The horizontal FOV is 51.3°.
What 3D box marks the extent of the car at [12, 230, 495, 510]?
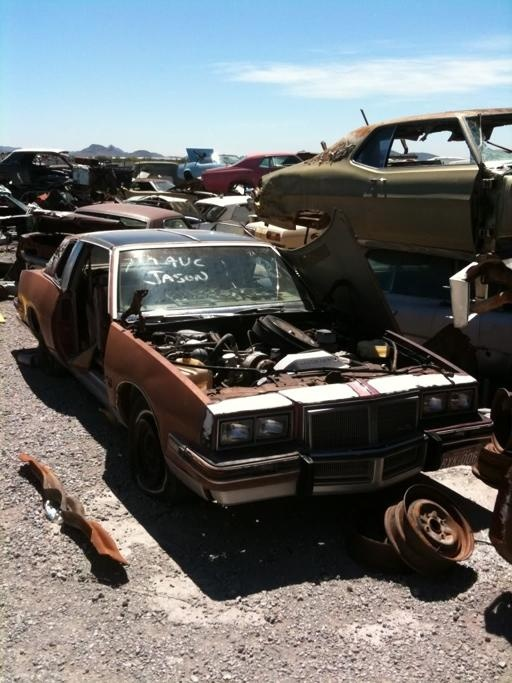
[{"bbox_3d":[-0.550,-0.089,4.457,1.882,1.680,4.617,-2,9,-34],"label":"car"}]
